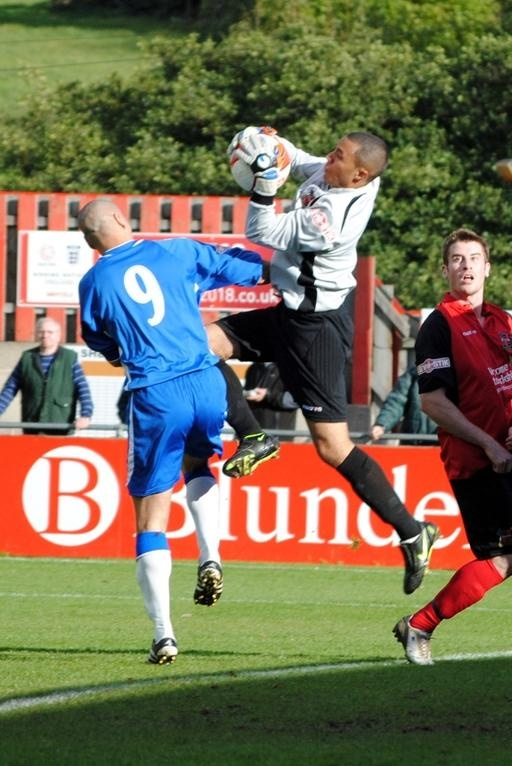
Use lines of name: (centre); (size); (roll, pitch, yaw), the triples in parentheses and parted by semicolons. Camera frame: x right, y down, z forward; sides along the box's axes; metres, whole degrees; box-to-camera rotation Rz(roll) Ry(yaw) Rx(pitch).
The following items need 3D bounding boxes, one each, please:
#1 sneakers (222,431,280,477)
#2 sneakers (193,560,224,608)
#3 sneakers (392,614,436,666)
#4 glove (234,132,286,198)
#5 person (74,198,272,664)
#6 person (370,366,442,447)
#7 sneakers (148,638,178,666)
sneakers: (-0.045, 0.363, 6.205); (0.362, 0.121, 0.181); (-24, 25, -30)
sneakers: (-0.209, 0.903, 5.882); (0.102, 0.123, 0.217); (11, 1, -7)
sneakers: (0.688, 1.156, 5.765); (0.138, 0.275, 0.104); (-23, 5, 39)
glove: (-0.004, -0.982, 5.817); (0.281, 0.291, 0.248); (8, 16, 10)
person: (-0.464, 0.161, 5.678); (0.805, 1.794, 1.142); (5, 16, 0)
person: (1.035, 0.197, 9.225); (0.263, 0.512, 0.955); (9, 9, 19)
sneakers: (-0.388, 1.109, 5.350); (0.091, 0.140, 0.128); (1, 16, -14)
